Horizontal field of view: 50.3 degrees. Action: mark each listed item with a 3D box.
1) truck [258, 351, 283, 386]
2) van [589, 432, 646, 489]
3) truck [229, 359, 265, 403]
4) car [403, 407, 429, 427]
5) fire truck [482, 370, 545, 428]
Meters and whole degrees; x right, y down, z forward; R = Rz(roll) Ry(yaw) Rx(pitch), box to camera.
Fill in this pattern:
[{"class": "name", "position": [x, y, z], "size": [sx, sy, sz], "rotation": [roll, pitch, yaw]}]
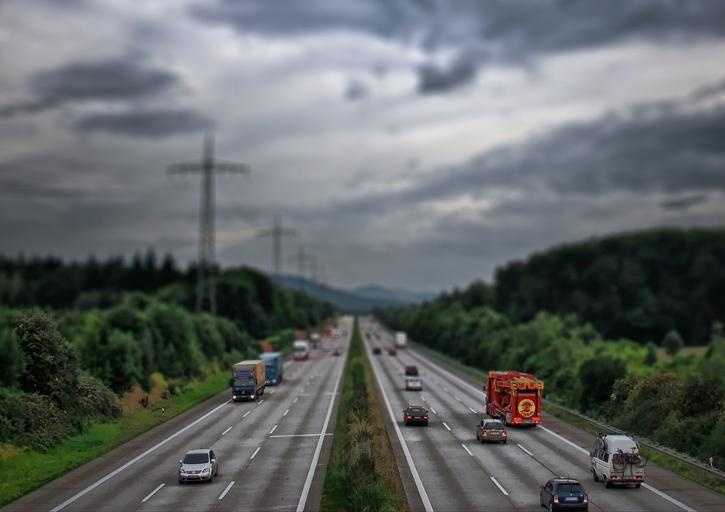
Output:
[{"class": "truck", "position": [-12.554, 15.347, 106.651], "size": [2.356, 3.833, 7.477], "rotation": [-1, 4, -1]}, {"class": "van", "position": [19.136, 15.309, 57.866], "size": [3.802, 3.816, 5.554], "rotation": [-1, -4, 5]}, {"class": "truck", "position": [-13.351, 14.744, 90.601], "size": [2.211, 4.484, 4.170], "rotation": [0, 1, 29]}, {"class": "car", "position": [5.194, 15.666, 75.083], "size": [2.124, 1.763, 1.076], "rotation": [0, 2, 9]}, {"class": "fire truck", "position": [14.673, 13.948, 76.316], "size": [3.018, 4.112, 7.912], "rotation": [2, -2, -12]}]
